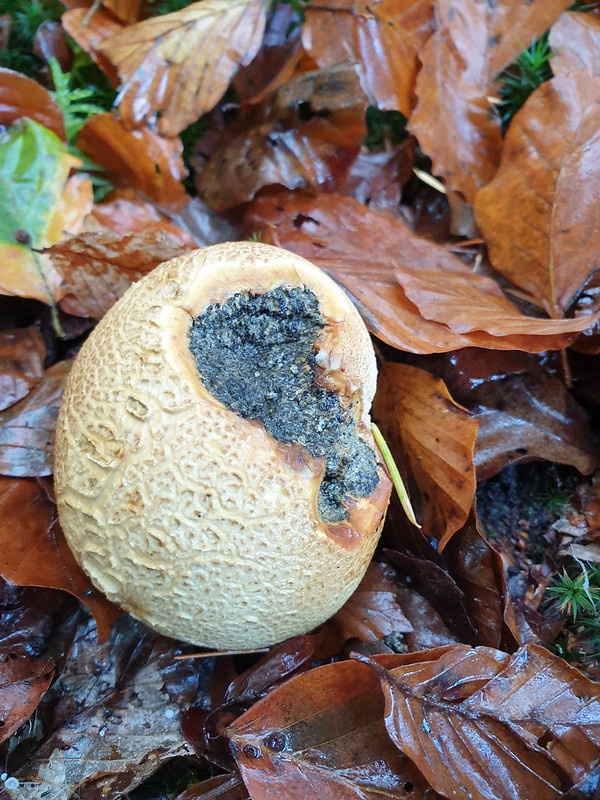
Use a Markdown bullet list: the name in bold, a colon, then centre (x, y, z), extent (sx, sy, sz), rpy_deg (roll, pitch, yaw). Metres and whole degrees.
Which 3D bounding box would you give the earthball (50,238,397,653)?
- **earthball**: centre (-0.216, 0.137, 1.764), extent (0.744, 0.564, 0.762), rpy_deg (4, 73, -25)
